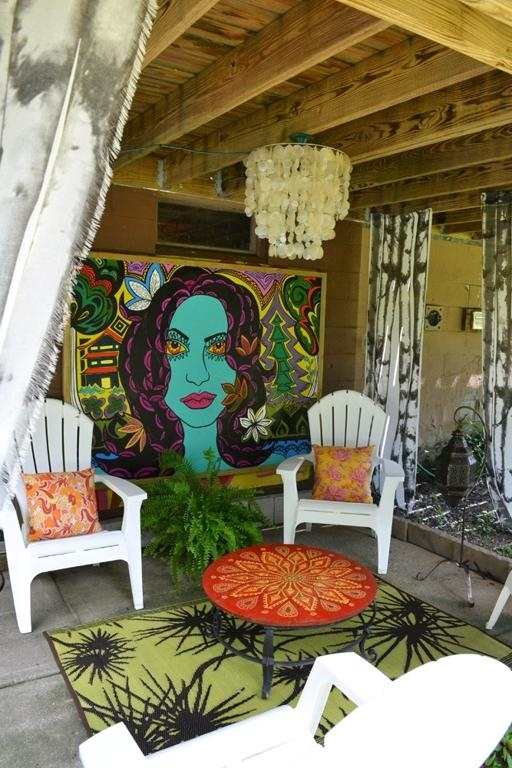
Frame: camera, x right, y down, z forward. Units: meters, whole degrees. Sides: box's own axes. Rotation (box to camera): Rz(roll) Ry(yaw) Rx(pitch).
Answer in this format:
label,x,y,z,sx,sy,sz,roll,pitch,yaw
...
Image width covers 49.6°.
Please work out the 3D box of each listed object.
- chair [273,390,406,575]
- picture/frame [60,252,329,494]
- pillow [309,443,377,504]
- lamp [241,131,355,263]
label,x,y,z,sx,sy,sz,roll,pitch,yaw
chair,0.554,0.605,3.556,0.773,0.933,0.748,4,8,23
picture/frame,-0.442,-0.062,3.607,1.906,1.280,0.072,-2,9,-34
pillow,0.549,0.572,3.545,0.379,0.314,0.274,1,4,6
lamp,0.187,-0.828,2.477,0.473,0.442,0.492,0,-1,30
